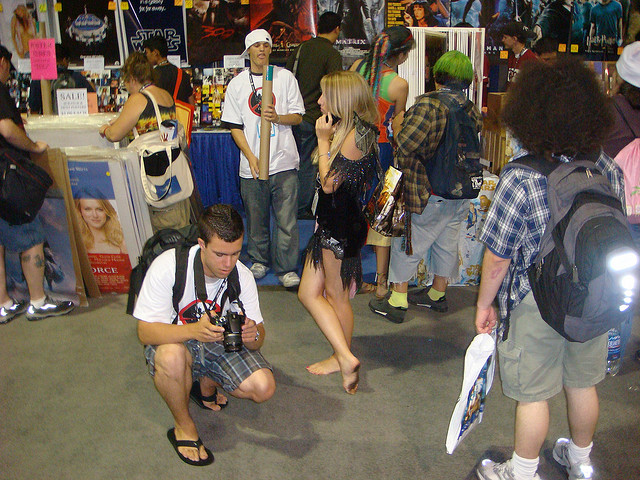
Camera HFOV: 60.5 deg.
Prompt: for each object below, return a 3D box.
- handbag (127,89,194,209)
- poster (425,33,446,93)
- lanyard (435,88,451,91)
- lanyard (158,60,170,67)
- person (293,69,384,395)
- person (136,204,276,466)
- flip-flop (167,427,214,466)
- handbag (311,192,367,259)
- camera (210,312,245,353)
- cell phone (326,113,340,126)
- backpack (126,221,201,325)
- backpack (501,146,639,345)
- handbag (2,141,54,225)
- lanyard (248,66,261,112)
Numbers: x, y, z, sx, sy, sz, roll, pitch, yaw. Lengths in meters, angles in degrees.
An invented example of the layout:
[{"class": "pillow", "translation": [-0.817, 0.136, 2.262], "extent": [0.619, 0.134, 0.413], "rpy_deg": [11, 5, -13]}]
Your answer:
[{"class": "handbag", "translation": [-1.286, -0.719, 4.520], "extent": [0.420, 0.902, 0.544], "rpy_deg": [-4, 7, 12]}, {"class": "poster", "translation": [1.220, -1.971, 6.060], "extent": [0.227, 0.611, 0.318], "rpy_deg": [-20, 29, -40]}, {"class": "lanyard", "translation": [0.900, -1.109, 4.034], "extent": [0.099, 0.024, 0.040], "rpy_deg": [16, 29, 34]}, {"class": "lanyard", "translation": [-1.677, -1.907, 5.896], "extent": [0.047, 0.041, 0.137], "rpy_deg": [13, 28, 30]}, {"class": "person", "translation": [0.128, -0.049, 3.463], "extent": [0.518, 1.903, 0.834], "rpy_deg": [2, 22, 6]}, {"class": "person", "translation": [-0.649, 0.492, 3.034], "extent": [0.669, 1.332, 0.572], "rpy_deg": [-10, 23, -22]}, {"class": "flip-flop", "translation": [-0.731, 1.157, 3.053], "extent": [0.113, 0.071, 0.289], "rpy_deg": [-10, 24, -37]}, {"class": "handbag", "translation": [0.130, -0.106, 3.434], "extent": [0.307, 0.393, 0.235], "rpy_deg": [-1, 22, 1]}, {"class": "camera", "translation": [-0.469, 0.471, 2.798], "extent": [0.169, 0.201, 0.110], "rpy_deg": [-1, -10, -12]}, {"class": "cell phone", "translation": [0.079, -0.732, 3.334], "extent": [0.058, 0.046, 0.061], "rpy_deg": [-46, 31, -21]}, {"class": "backpack", "translation": [-0.850, 0.188, 3.174], "extent": [0.440, 0.439, 0.421], "rpy_deg": [10, 25, 24]}, {"class": "backpack", "translation": [1.101, 0.037, 2.473], "extent": [0.402, 0.650, 0.689], "rpy_deg": [-23, 50, -9]}, {"class": "handbag", "translation": [-2.206, -0.443, 4.111], "extent": [0.227, 0.423, 0.458], "rpy_deg": [-9, 43, 38]}, {"class": "lanyard", "translation": [-0.546, -1.280, 4.582], "extent": [0.047, 0.392, 0.053], "rpy_deg": [-17, 8, 10]}]
